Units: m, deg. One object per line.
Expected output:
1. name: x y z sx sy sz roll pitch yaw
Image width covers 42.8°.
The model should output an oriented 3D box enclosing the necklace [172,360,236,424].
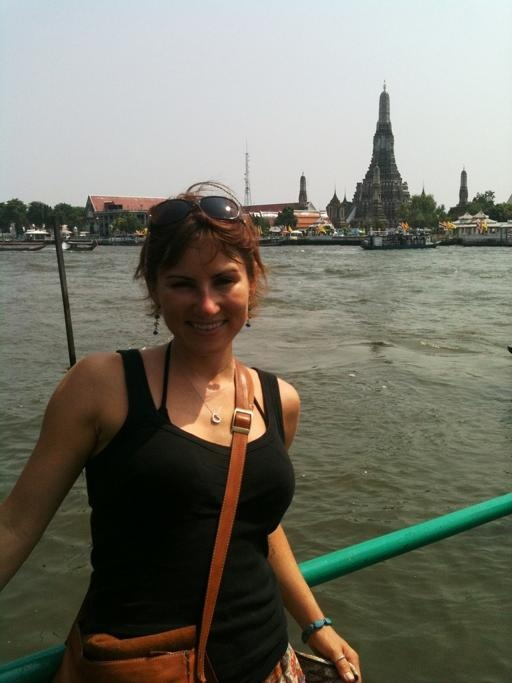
1. necklace: -0.091 0.104 1.248 0.099 0.120 0.031 3 -36 -17

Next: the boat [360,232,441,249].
1. boat: 18.973 -13.389 86.785 8.977 2.678 5.181 0 -1 -20

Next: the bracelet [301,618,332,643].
1. bracelet: 0.128 0.612 1.386 0.065 0.023 0.057 -34 -6 11

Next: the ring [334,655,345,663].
1. ring: 0.172 0.660 1.357 0.014 0.003 0.014 -3 0 0
